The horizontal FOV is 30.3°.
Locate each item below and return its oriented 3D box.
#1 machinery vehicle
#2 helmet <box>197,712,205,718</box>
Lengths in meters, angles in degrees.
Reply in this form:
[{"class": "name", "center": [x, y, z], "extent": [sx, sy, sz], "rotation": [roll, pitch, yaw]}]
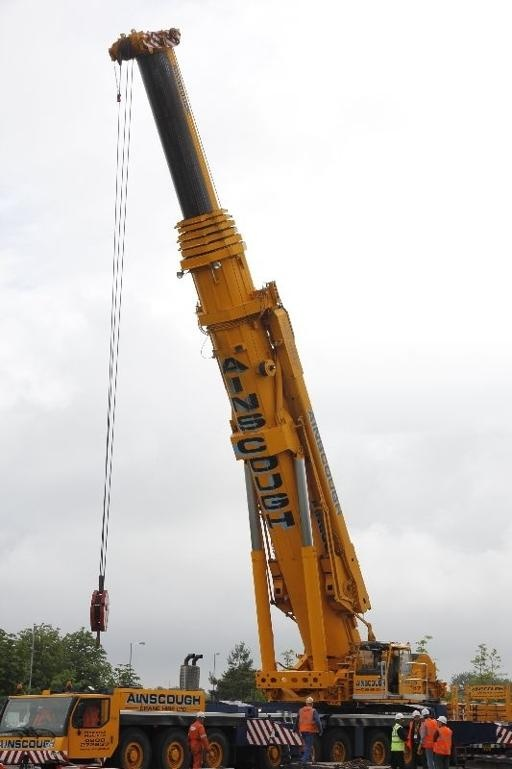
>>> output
[{"class": "machinery vehicle", "center": [0.741, 0.803, 23.319], "extent": [3.161, 15.756, 12.857], "rotation": [-12, -22, 30]}, {"class": "helmet", "center": [-1.069, 6.517, 18.640], "extent": [0.139, 0.090, 0.180], "rotation": [1, -16, -2]}]
